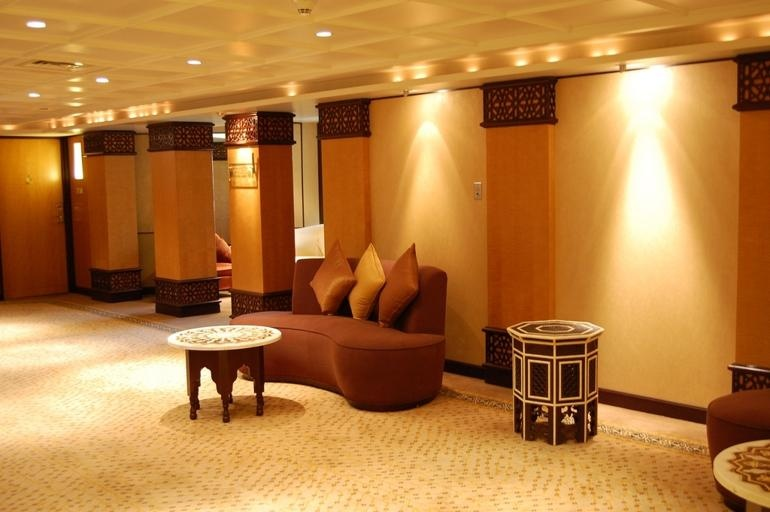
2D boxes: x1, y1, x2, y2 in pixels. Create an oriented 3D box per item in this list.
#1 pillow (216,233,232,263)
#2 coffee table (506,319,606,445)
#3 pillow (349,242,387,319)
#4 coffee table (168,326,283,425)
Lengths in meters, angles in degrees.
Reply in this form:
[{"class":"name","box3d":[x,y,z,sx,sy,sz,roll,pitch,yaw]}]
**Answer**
[{"class":"pillow","box3d":[-3.168,-0.116,11.407,0.248,0.491,0.452,-4,10,-15]},{"class":"coffee table","box3d":[1.578,1.161,5.240,0.897,0.914,0.872,-1,-4,26]},{"class":"pillow","box3d":[-0.201,0.324,6.503,0.212,0.662,0.685,13,32,-22]},{"class":"coffee table","box3d":[-1.565,1.226,5.775,0.936,0.690,0.953,-2,-7,-5]}]
